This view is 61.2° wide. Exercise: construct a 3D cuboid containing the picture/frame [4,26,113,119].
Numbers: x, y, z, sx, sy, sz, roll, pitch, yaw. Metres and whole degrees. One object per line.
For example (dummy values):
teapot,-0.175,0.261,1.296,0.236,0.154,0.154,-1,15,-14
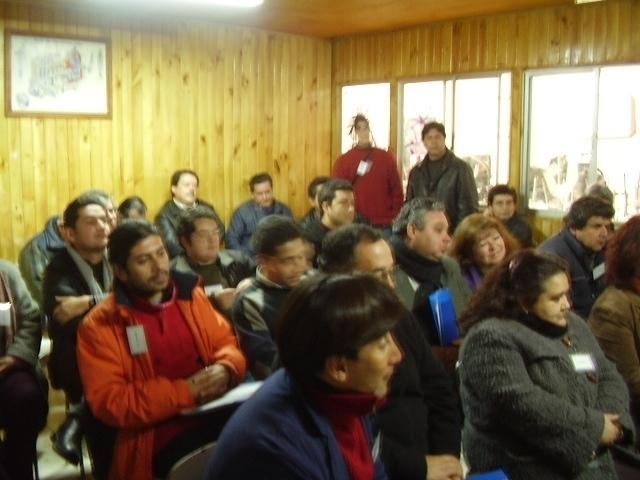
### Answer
picture/frame,-2.500,-1.587,5.101,0.890,0.807,0.070,-2,2,-33
